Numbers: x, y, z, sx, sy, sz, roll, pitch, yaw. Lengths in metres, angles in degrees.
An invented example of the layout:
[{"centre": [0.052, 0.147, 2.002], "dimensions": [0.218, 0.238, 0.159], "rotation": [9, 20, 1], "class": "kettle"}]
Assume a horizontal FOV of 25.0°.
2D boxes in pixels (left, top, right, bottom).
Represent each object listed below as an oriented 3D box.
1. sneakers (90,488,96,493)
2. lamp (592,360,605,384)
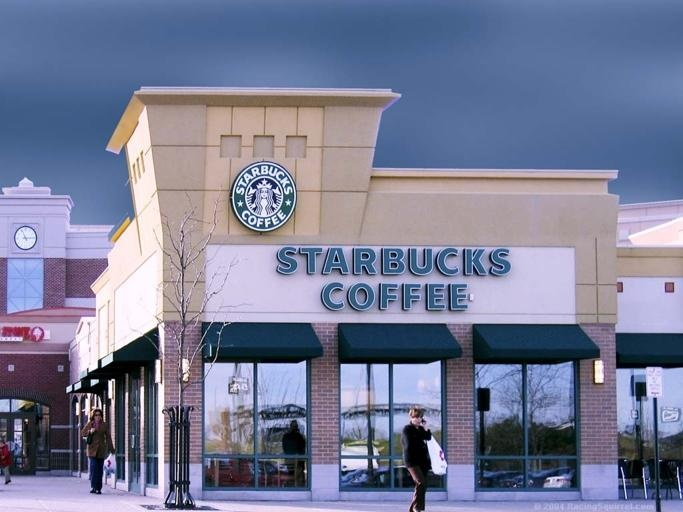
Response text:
[{"centre": [-8.089, 7.681, 49.903], "dimensions": [0.150, 0.248, 0.080], "rotation": [-1, -1, -4], "class": "sneakers"}, {"centre": [7.829, 3.604, 47.329], "dimensions": [0.367, 0.744, 0.248], "rotation": [-1, -10, -4], "class": "lamp"}]
